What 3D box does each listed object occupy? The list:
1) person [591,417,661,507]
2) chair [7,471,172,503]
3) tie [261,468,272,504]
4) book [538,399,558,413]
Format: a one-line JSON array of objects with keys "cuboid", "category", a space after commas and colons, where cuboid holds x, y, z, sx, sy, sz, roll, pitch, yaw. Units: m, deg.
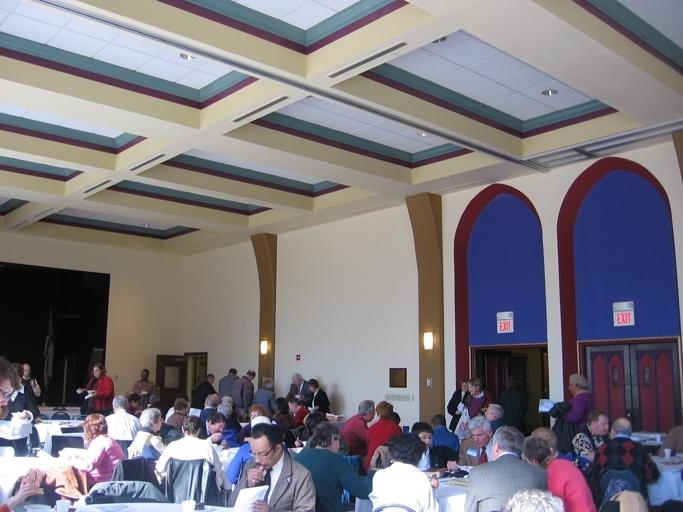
[{"cuboid": [2.557, 1.898, 4.624, 0.559, 0.720, 1.581, -9, -15, 30], "category": "person"}, {"cuboid": [-1.736, 1.603, 3.453, 0.698, 0.234, 0.526, -1, -17, 9], "category": "chair"}, {"cuboid": [-0.524, 1.609, 3.516, 0.048, 0.194, 0.183, 0, -13, -8], "category": "tie"}, {"cuboid": [2.915, 2.138, 7.181, 0.210, 0.176, 0.705, -6, -14, 19], "category": "book"}]
